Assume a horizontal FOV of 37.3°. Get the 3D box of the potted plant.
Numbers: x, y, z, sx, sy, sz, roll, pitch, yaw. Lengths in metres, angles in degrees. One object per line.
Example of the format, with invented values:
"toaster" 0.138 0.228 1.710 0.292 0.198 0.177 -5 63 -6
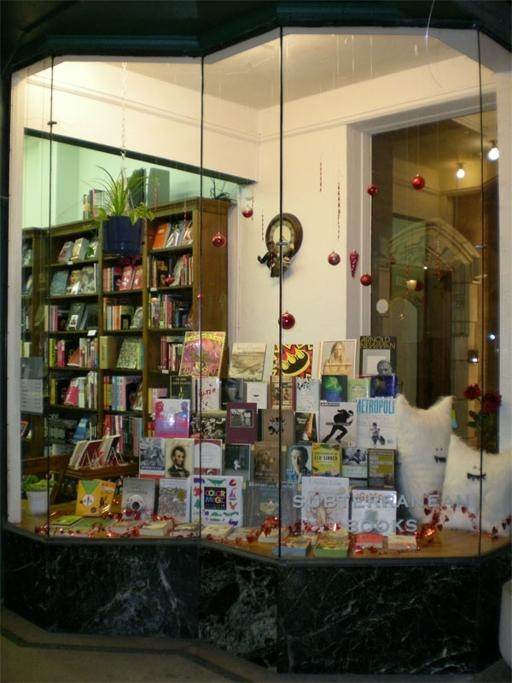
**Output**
"potted plant" -0.645 -0.608 3.661 0.401 0.410 0.384 0 -5 -1
